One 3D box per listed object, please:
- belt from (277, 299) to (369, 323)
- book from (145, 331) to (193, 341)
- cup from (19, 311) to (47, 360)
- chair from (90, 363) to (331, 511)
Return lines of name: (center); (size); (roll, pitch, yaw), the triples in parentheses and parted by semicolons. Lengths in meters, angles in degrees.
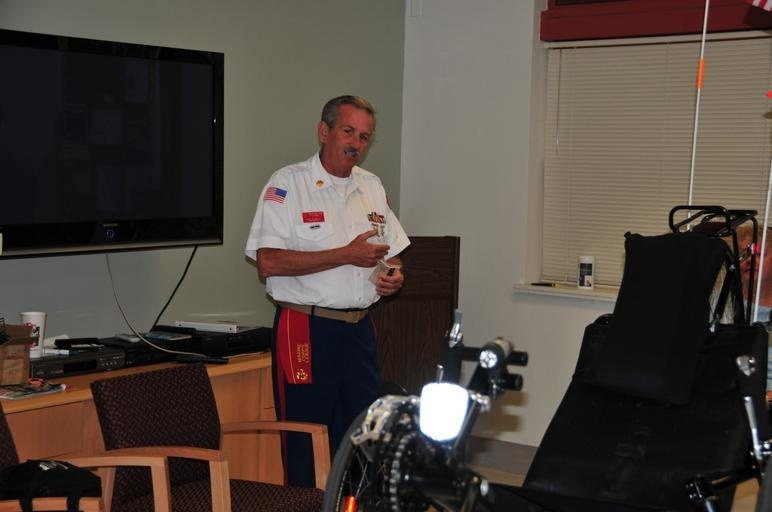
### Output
belt: (-0.324, 0.290, 3.010); (0.460, 0.088, 0.108); (3, 6, -9)
book: (-1.181, 0.437, 3.186); (0.237, 0.028, 0.143); (3, 4, 30)
cup: (-1.691, 0.379, 2.799); (0.103, 0.210, 0.375); (0, 7, -32)
chair: (-0.824, 0.738, 2.729); (0.757, 0.918, 0.662); (-4, -3, 36)
